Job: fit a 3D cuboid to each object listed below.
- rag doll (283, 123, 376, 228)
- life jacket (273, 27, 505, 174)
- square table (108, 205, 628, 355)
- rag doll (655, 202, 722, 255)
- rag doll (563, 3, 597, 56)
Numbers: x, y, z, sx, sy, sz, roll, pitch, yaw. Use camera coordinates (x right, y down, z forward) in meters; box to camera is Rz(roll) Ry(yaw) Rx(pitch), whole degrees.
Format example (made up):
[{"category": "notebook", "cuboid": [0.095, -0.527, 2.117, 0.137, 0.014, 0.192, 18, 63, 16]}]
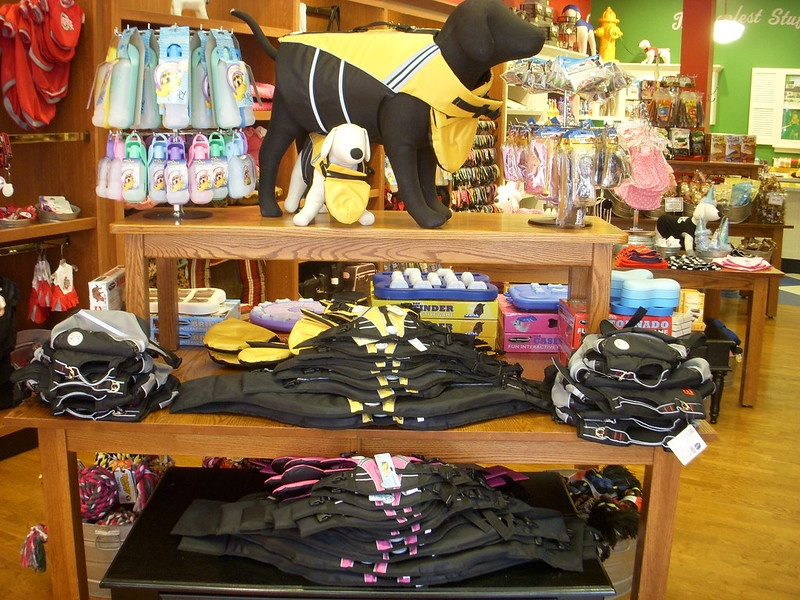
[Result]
[{"category": "rag doll", "cuboid": [-0.261, -0.449, 2.104, 0.276, 0.334, 0.474, -4, 22, -26]}, {"category": "life jacket", "cuboid": [-0.124, -0.706, 2.129, 0.930, 0.456, 0.496, 12, 15, 12]}, {"category": "square table", "cuboid": [-0.115, -0.011, 2.197, 1.751, 0.534, 0.496, 1, 13, 2]}, {"category": "rag doll", "cuboid": [2.163, -0.562, 4.451, 0.402, 0.337, 0.940, 3, 8, 29]}, {"category": "rag doll", "cuboid": [2.083, -3.122, 6.881, 0.358, 0.667, 0.797, 1, 7, 15]}]
